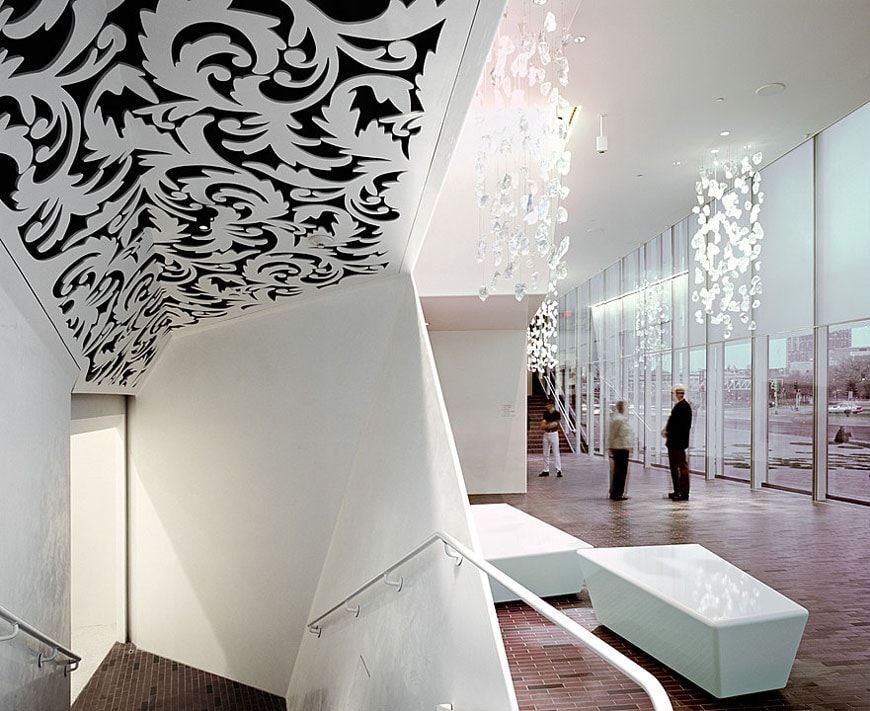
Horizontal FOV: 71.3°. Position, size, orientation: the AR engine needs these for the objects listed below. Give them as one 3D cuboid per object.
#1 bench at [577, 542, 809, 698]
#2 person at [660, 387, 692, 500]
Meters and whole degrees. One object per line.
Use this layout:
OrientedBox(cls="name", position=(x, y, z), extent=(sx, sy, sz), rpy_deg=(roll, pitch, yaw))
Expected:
OrientedBox(cls="bench", position=(1.690, 1.744, 4.130), extent=(0.725, 0.462, 1.023), rpy_deg=(3, -7, -14))
OrientedBox(cls="person", position=(3.938, 1.471, 9.847), extent=(0.524, 1.579, 1.209), rpy_deg=(-10, -6, 19))
